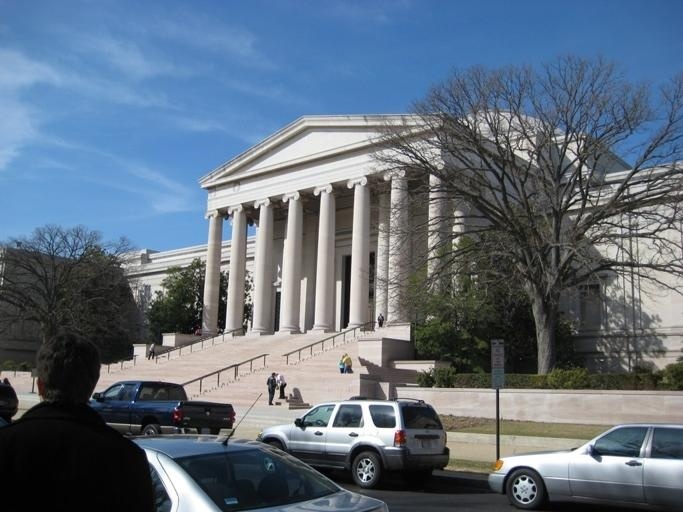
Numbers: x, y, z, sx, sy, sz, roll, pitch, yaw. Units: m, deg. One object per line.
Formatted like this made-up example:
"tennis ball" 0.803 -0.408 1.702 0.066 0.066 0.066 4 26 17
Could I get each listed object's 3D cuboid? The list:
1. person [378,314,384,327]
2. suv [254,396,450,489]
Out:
"person" 2.376 3.885 39.437 0.336 0.829 0.534 -4 -9 20
"suv" 0.215 4.205 15.169 3.982 1.675 1.999 -3 -11 36
